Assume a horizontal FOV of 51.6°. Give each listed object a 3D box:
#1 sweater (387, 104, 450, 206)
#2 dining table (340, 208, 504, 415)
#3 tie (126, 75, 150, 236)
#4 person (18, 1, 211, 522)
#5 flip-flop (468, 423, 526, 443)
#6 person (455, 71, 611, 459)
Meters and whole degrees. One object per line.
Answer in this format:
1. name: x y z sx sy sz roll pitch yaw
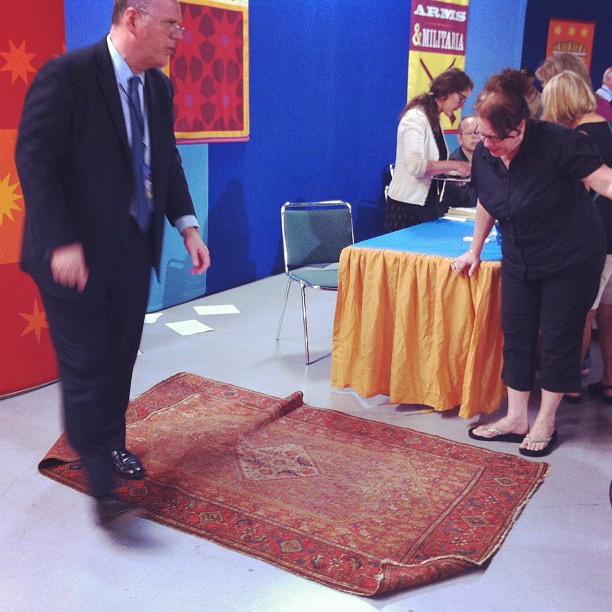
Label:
1. sweater: 0.646 -0.893 3.794 0.296 0.589 0.331 3 15 7
2. dining table: 0.643 0.021 3.120 0.624 0.552 1.013 8 16 30
3. tie: -0.496 -0.468 1.914 0.044 0.412 0.048 5 21 28
4. person: -0.586 -0.161 1.967 0.508 1.465 0.286 -9 18 -33
5. flip-flop: 0.818 0.533 2.695 0.204 0.046 0.080 4 12 13
6. person: 0.851 -0.098 2.388 0.516 1.477 0.349 4 15 13
